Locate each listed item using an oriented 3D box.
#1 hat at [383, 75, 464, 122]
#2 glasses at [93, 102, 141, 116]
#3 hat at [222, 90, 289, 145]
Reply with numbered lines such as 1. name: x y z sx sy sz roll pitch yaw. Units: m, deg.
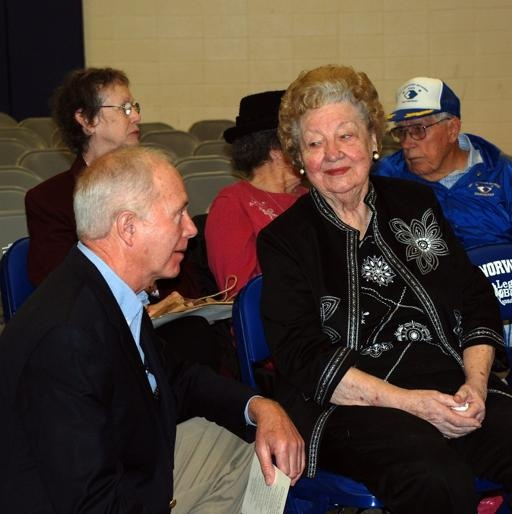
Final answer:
1. hat: 0.969 -0.870 2.930 0.411 0.188 0.280 2 4 -28
2. glasses: -0.685 -0.732 2.532 0.124 0.034 0.114 -3 1 16
3. hat: -0.025 -0.698 2.610 0.297 0.116 0.260 -20 3 39
